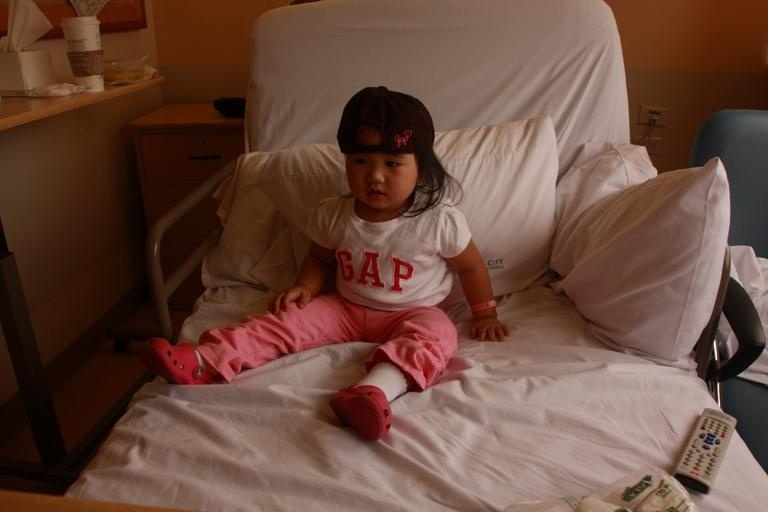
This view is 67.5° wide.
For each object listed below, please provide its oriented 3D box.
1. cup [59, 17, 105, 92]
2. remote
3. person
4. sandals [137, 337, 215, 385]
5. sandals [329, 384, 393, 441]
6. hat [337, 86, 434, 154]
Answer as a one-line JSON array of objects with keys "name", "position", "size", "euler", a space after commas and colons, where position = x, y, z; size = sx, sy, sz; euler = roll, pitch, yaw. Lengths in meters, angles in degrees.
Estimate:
[{"name": "cup", "position": [-1.090, -0.733, 2.092], "size": [0.143, 0.254, 0.136], "euler": [1, 22, 0]}, {"name": "remote", "position": [0.784, 0.474, 1.396], "size": [0.080, 0.057, 0.255], "euler": [17, 35, 38]}, {"name": "person", "position": [-0.107, 0.063, 1.770], "size": [0.952, 0.859, 0.944], "euler": [11, 22, 21]}, {"name": "sandals", "position": [-0.544, 0.287, 1.509], "size": [0.175, 0.071, 0.101], "euler": [22, 29, -52]}, {"name": "sandals", "position": [-0.070, 0.372, 1.431], "size": [0.196, 0.076, 0.122], "euler": [-6, 33, 33]}, {"name": "hat", "position": [0.006, -0.415, 1.738], "size": [0.306, 0.192, 0.310], "euler": [8, 5, -4]}]
